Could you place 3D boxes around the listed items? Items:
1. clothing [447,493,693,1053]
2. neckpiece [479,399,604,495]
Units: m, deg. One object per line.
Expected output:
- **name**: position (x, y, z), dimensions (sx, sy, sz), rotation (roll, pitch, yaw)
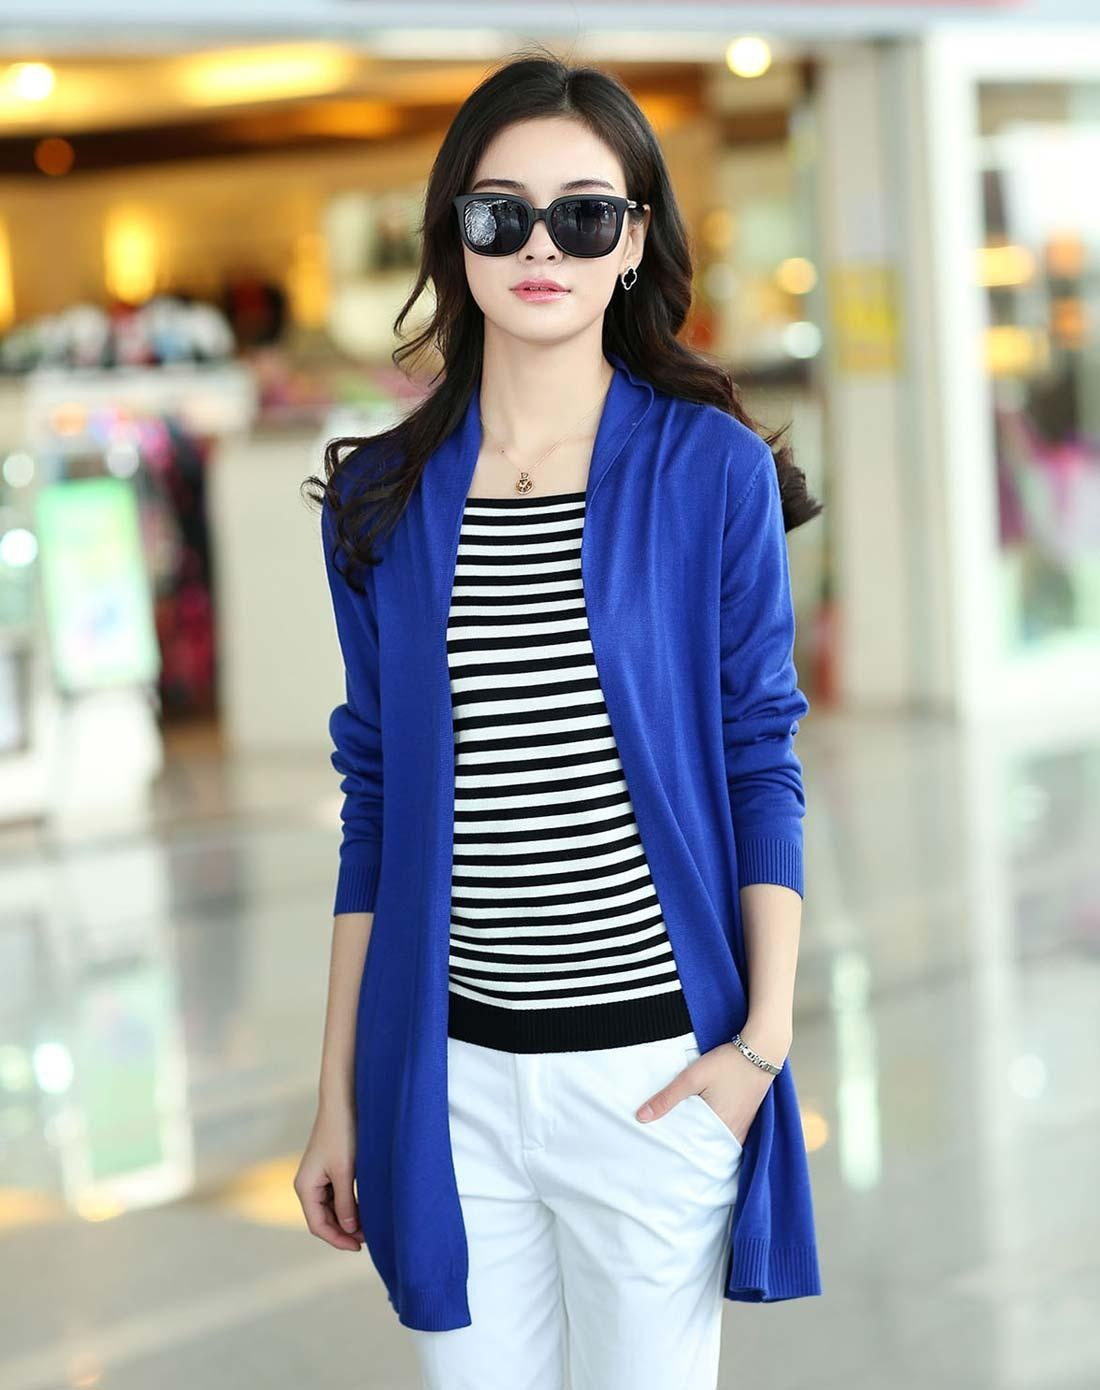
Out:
- **clothing**: position (0.004, 0.065, 1.236), dimensions (0.193, 0.470, 0.103), rotation (-5, 5, 5)
- **neckpiece**: position (-0.014, -0.230, 1.298), dimensions (0.114, 0.087, 0.044), rotation (-1, -37, 21)
